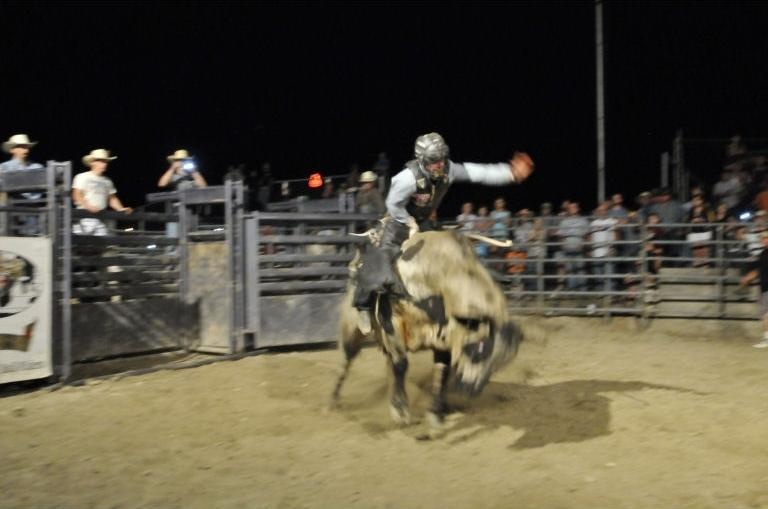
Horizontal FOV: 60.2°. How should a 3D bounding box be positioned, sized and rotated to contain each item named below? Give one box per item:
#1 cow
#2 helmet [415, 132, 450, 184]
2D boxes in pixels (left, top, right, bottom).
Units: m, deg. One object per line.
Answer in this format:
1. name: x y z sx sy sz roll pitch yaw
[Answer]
1. cow: 0.645 0.917 7.877 1.580 2.351 0.576 1 13 8
2. helmet: 0.543 -1.159 7.867 0.441 0.539 0.337 4 12 21
